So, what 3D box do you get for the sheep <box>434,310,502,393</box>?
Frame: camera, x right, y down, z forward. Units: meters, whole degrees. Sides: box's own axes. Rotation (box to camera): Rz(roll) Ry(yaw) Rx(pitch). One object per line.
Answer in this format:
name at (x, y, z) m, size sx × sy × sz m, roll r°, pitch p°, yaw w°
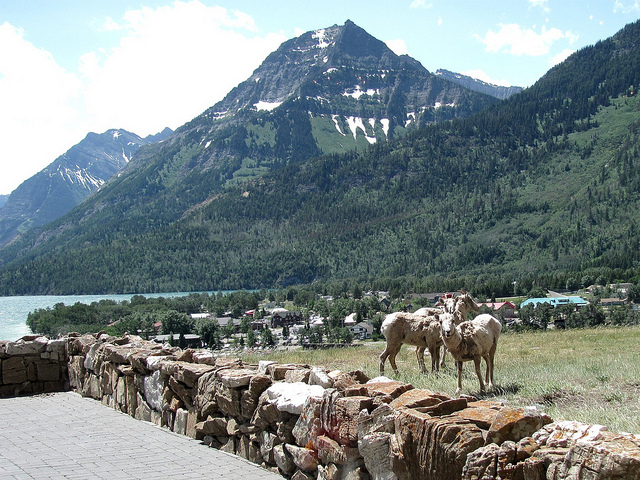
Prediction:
sheep at (4.544, 3.462, 19.210) m, size 0.919 × 2.534 × 3.484 m, roll -3°, pitch -2°, yaw 41°
